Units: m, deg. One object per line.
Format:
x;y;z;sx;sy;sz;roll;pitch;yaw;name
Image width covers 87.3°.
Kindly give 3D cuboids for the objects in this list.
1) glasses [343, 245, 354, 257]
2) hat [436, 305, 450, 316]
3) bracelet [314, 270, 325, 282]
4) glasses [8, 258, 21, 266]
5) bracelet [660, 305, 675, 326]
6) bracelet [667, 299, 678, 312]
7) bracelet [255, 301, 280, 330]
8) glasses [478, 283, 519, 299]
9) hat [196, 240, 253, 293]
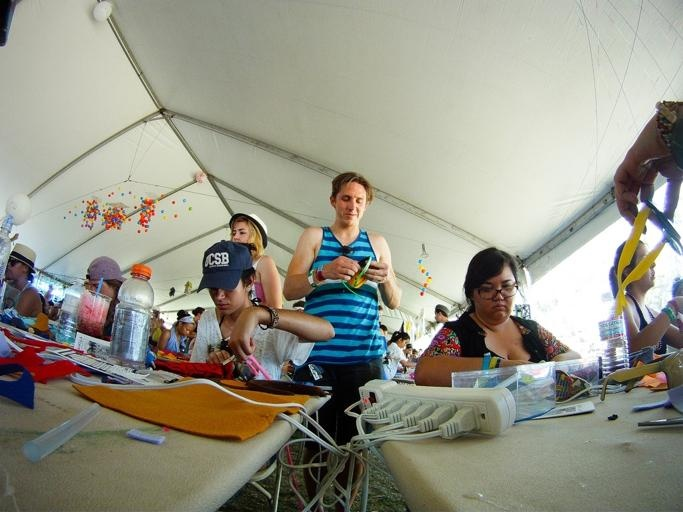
0.033;-0.023;1.712;0.049;0.056;0.055;2;-5;7;glasses
1.787;0.959;6.336;0.330;0.170;0.438;3;-13;11;hat
-0.095;0.082;1.546;0.036;0.046;0.047;7;-43;-10;bracelet
-2.249;0.041;2.445;0.059;0.037;0.071;2;-22;-17;glasses
1.107;0.200;1.217;0.024;0.048;0.055;-26;-51;8;bracelet
1.121;0.164;1.205;0.010;0.038;0.039;-10;-30;38;bracelet
-0.224;0.190;1.105;0.032;0.057;0.078;-4;11;-41;bracelet
0.620;0.138;1.421;0.152;0.064;0.058;-2;-18;15;glasses
-0.443;0.036;1.409;0.147;0.120;0.226;-4;8;11;hat
